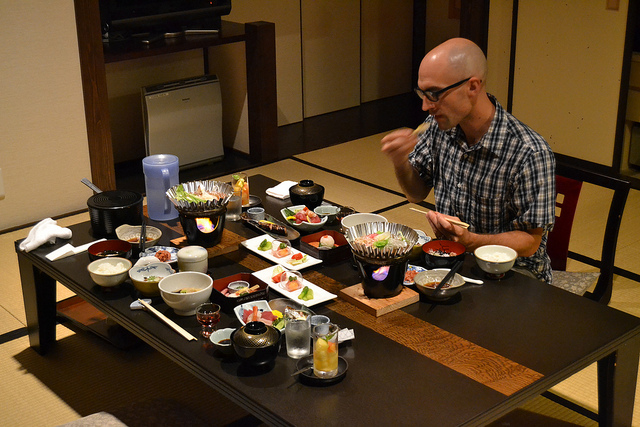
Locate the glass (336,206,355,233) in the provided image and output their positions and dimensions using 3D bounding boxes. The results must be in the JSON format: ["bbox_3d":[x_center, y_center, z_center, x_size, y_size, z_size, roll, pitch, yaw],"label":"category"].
[{"bbox_3d":[0.129,0.018,2.501,0.115,0.119,0.106,20,36,33],"label":"glass"}]

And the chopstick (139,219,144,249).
[{"bbox_3d":[-0.844,0.103,2.216,0.015,0.131,0.014,0,-16,15],"label":"chopstick"}]

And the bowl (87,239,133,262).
[{"bbox_3d":[-0.946,0.168,2.121,0.131,0.052,0.123,0,26,0],"label":"bowl"}]

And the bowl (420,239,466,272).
[{"bbox_3d":[0.537,0.176,2.006,0.147,0.062,0.143,-1,22,1],"label":"bowl"}]

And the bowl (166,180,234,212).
[{"bbox_3d":[-0.540,-0.050,2.255,0.336,0.109,0.305,-1,-13,11],"label":"bowl"}]

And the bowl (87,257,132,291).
[{"bbox_3d":[-0.868,0.269,1.941,0.148,0.082,0.143,4,8,-1],"label":"bowl"}]

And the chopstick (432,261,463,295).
[{"bbox_3d":[0.508,0.242,1.811,0.016,0.016,0.128,40,72,11],"label":"chopstick"}]

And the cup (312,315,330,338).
[{"bbox_3d":[0.002,0.373,1.560,0.065,0.065,0.069,0,18,0],"label":"cup"}]

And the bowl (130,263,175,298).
[{"bbox_3d":[-0.682,0.267,1.918,0.142,0.070,0.137,1,33,-1],"label":"bowl"}]

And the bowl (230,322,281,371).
[{"bbox_3d":[-0.209,0.415,1.486,0.142,0.094,0.143,0,21,0],"label":"bowl"}]

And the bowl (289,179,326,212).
[{"bbox_3d":[-0.061,-0.099,2.535,0.166,0.114,0.165,-1,21,0],"label":"bowl"}]

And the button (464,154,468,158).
[{"bbox_3d":[0.726,-0.283,2.322,0.018,0.015,0.002,21,38,36],"label":"button"}]

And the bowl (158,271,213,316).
[{"bbox_3d":[-0.508,0.293,1.796,0.177,0.096,0.174,1,23,0],"label":"bowl"}]

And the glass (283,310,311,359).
[{"bbox_3d":[-0.075,0.409,1.564,0.093,0.137,0.090,-11,21,-27],"label":"glass"}]

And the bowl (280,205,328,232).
[{"bbox_3d":[-0.078,0.007,2.389,0.171,0.078,0.195,-21,43,-34],"label":"bowl"}]

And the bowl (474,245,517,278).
[{"bbox_3d":[0.731,0.185,1.938,0.139,0.073,0.135,0,21,0],"label":"bowl"}]

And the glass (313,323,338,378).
[{"bbox_3d":[0.017,0.421,1.472,0.080,0.115,0.160,-1,30,3],"label":"glass"}]

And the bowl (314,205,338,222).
[{"bbox_3d":[0.038,-0.006,2.445,0.086,0.032,0.085,-2,31,1],"label":"bowl"}]

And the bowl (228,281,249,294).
[{"bbox_3d":[-0.338,0.300,1.895,0.053,0.020,0.049,0,33,0],"label":"bowl"}]

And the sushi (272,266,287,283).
[{"bbox_3d":[-0.169,0.253,1.962,0.046,0.021,0.053,-3,34,-4],"label":"sushi"}]

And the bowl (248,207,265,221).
[{"bbox_3d":[-0.332,-0.002,2.458,0.069,0.049,0.068,0,21,0],"label":"bowl"}]

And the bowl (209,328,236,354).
[{"bbox_3d":[-0.333,0.427,1.603,0.080,0.047,0.136,-9,30,-11],"label":"bowl"}]

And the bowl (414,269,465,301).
[{"bbox_3d":[0.467,0.282,1.844,0.202,0.076,0.195,0,17,0],"label":"bowl"}]

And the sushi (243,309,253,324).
[{"bbox_3d":[-0.260,0.374,1.702,0.033,0.034,0.037,0,4,-10],"label":"sushi"}]

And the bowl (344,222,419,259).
[{"bbox_3d":[0.232,0.102,1.824,0.189,0.055,0.176,-1,20,0],"label":"bowl"}]

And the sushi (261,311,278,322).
[{"bbox_3d":[-0.188,0.368,1.694,0.034,0.013,0.036,15,28,25],"label":"sushi"}]

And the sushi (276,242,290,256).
[{"bbox_3d":[-0.162,0.161,2.125,0.056,0.054,0.023,15,-2,28],"label":"sushi"}]

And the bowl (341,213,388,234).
[{"bbox_3d":[0.201,0.041,2.279,0.130,0.057,0.127,3,29,-2],"label":"bowl"}]

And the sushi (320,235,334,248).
[{"bbox_3d":[0.042,0.130,2.186,0.046,0.051,0.049,-23,-10,14],"label":"sushi"}]

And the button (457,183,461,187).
[{"bbox_3d":[0.708,-0.138,2.378,0.017,0.014,0.004,10,33,21],"label":"button"}]
